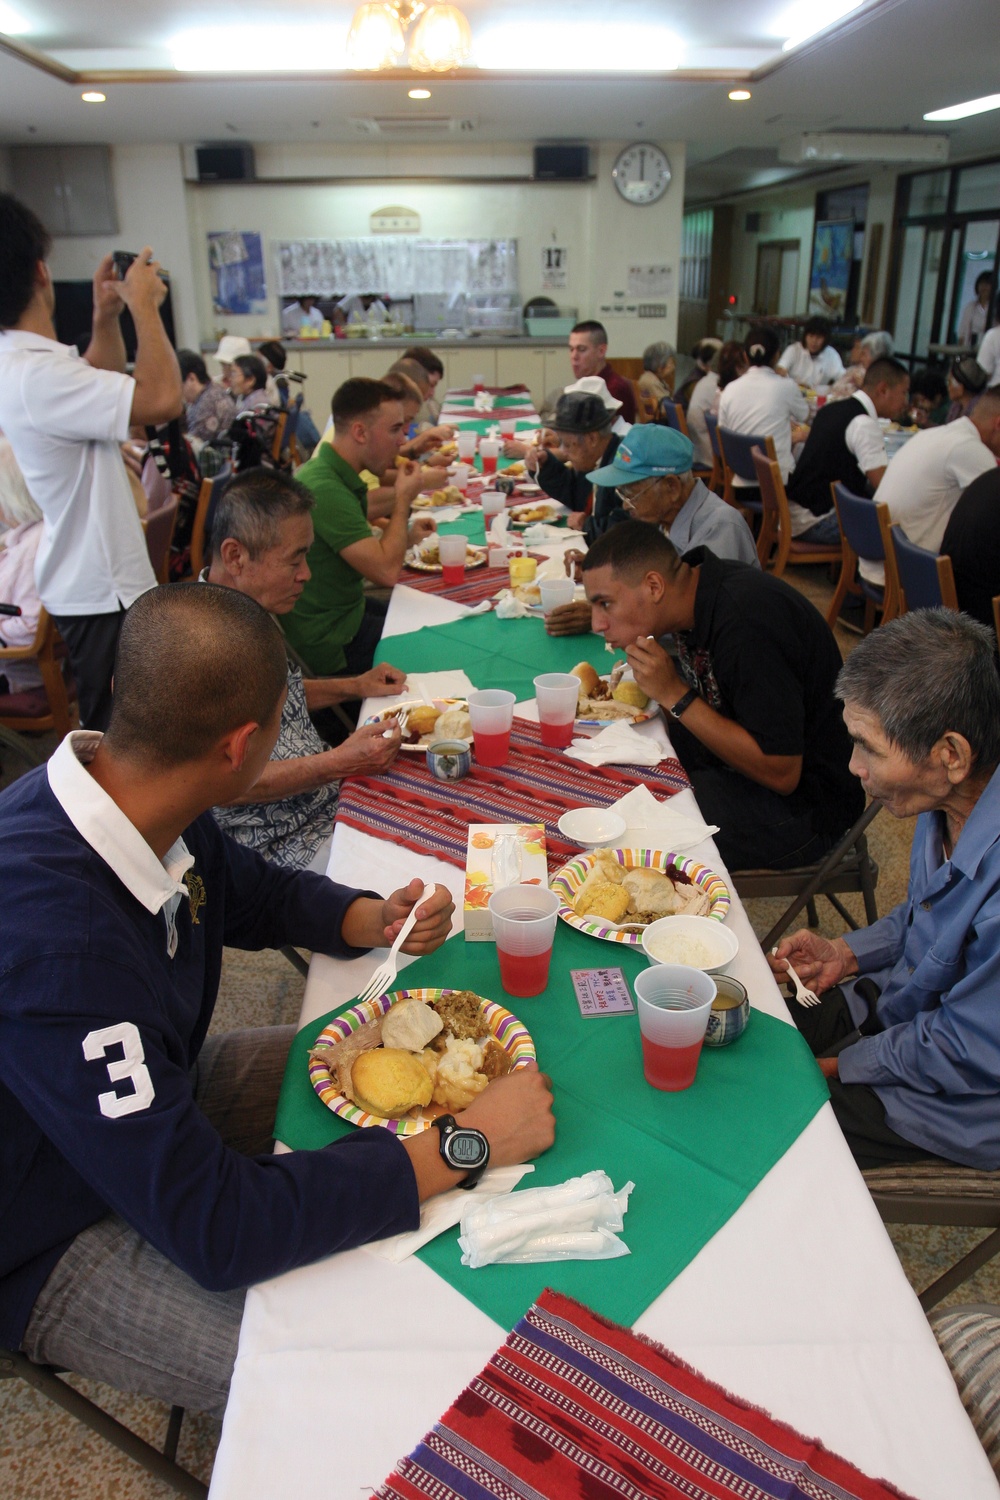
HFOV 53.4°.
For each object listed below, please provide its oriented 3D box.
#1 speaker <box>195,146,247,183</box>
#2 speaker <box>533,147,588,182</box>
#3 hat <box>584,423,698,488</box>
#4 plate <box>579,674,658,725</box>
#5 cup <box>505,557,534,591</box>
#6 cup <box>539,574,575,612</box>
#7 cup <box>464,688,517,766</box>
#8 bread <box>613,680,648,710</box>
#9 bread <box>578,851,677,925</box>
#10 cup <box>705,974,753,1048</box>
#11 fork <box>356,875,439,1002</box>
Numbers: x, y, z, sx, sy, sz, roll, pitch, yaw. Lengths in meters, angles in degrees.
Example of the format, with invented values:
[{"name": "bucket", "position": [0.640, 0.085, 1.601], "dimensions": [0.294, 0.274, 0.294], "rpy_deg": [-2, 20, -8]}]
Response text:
[{"name": "speaker", "position": [-2.495, -5.314, 9.030], "dimensions": [0.505, 0.296, 0.330], "rpy_deg": [-6, 26, -11]}, {"name": "speaker", "position": [0.567, -5.399, 9.152], "dimensions": [0.448, 0.279, 0.257], "rpy_deg": [0, 35, 0]}, {"name": "hat", "position": [0.384, -0.784, 2.690], "dimensions": [0.266, 0.127, 0.158], "rpy_deg": [2, 35, 11]}, {"name": "plate", "position": [0.226, -0.126, 1.995], "dimensions": [0.124, 0.048, 0.121], "rpy_deg": [-2, 20, -1]}, {"name": "cup", "position": [0.061, -0.492, 2.765], "dimensions": [0.101, 0.086, 0.111], "rpy_deg": [2, 25, 7]}, {"name": "cup", "position": [0.149, -0.399, 2.591], "dimensions": [0.091, 0.071, 0.098], "rpy_deg": [-3, 24, 1]}, {"name": "cup", "position": [-0.020, -0.048, 1.821], "dimensions": [0.115, 0.149, 0.121], "rpy_deg": [1, 26, 0]}, {"name": "bread", "position": [0.260, -0.107, 1.992], "dimensions": [0.059, 0.070, 0.063], "rpy_deg": [-1, 2, 13]}, {"name": "bread", "position": [0.165, 0.178, 1.266], "dimensions": [0.089, 0.031, 0.086], "rpy_deg": [14, 33, 14]}, {"name": "cup", "position": [0.240, 0.274, 1.038], "dimensions": [0.045, 0.030, 0.071], "rpy_deg": [2, 28, 10]}, {"name": "fork", "position": [-0.103, 0.201, 1.182], "dimensions": [0.032, 0.026, 0.226], "rpy_deg": [8, 43, 22]}]
